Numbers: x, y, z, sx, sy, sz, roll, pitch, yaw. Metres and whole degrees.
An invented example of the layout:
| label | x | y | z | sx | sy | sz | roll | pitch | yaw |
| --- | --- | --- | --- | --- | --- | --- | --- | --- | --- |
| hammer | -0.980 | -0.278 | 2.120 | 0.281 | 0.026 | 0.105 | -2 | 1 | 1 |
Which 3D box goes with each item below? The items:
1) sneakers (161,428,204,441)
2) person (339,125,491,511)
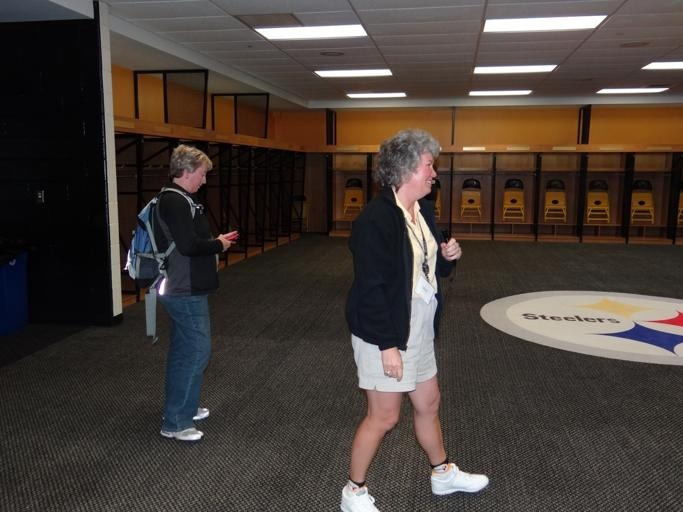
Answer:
| label | x | y | z | sx | sy | sz | roll | pitch | yaw |
| --- | --- | --- | --- | --- | --- | --- | --- | --- | --- |
| sneakers | -1.087 | 1.191 | 3.184 | 0.272 | 0.102 | 0.097 | -2 | 3 | 9 |
| person | 0.324 | 0.378 | 2.321 | 0.724 | 1.980 | 0.443 | -10 | 16 | -38 |
